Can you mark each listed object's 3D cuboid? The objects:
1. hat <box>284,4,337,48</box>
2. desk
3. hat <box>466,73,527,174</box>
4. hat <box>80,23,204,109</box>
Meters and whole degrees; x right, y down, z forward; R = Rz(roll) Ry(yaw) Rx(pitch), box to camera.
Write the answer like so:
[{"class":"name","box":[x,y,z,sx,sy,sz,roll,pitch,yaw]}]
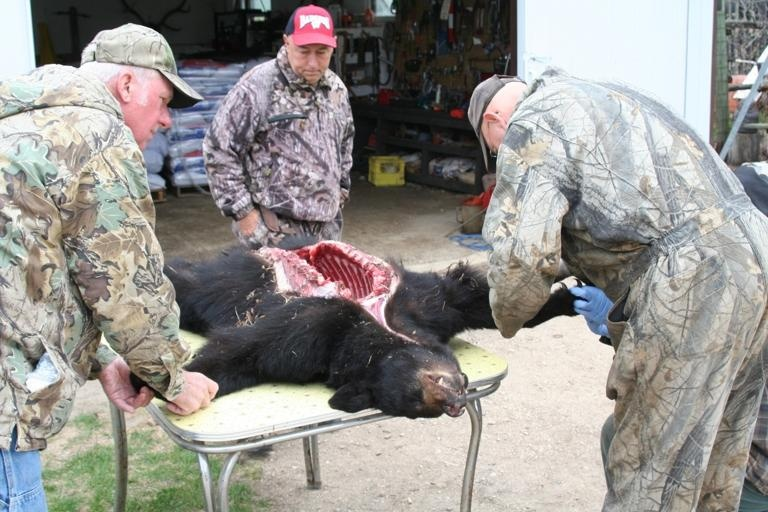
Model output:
[{"class":"hat","box":[-0.462,-1.465,4.980,0.237,0.176,0.353,-3,19,-16]},{"class":"desk","box":[-0.377,0.710,4.057,1.504,1.113,1.313,-8,23,-23]},{"class":"hat","box":[0.476,-0.643,3.780,0.343,0.456,0.243,-19,17,-38]},{"class":"hat","box":[-1.054,-0.867,3.514,0.519,0.296,0.341,11,8,-22]}]
